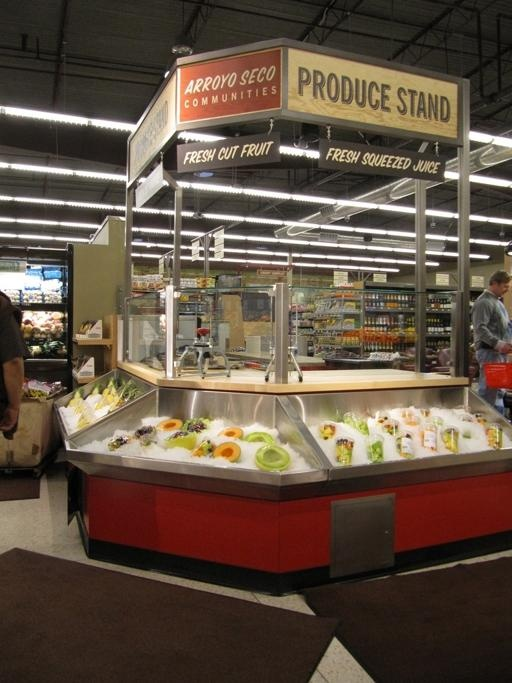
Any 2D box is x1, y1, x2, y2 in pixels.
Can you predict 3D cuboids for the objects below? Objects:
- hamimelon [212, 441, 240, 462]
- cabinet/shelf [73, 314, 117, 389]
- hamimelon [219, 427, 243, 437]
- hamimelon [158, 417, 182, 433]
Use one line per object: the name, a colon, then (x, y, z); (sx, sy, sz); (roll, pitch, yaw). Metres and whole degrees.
hamimelon: (-0.146, 0.563, 2.686); (0.138, 0.087, 0.163); (0, -2, -5)
cabinet/shelf: (-1.769, 0.104, 5.796); (0.422, 0.765, 1.226); (1, -2, -19)
hamimelon: (-0.127, 0.500, 2.890); (0.107, 0.049, 0.128); (2, -2, -43)
hamimelon: (-0.505, 0.492, 3.122); (0.135, 0.050, 0.246); (1, -2, -9)
